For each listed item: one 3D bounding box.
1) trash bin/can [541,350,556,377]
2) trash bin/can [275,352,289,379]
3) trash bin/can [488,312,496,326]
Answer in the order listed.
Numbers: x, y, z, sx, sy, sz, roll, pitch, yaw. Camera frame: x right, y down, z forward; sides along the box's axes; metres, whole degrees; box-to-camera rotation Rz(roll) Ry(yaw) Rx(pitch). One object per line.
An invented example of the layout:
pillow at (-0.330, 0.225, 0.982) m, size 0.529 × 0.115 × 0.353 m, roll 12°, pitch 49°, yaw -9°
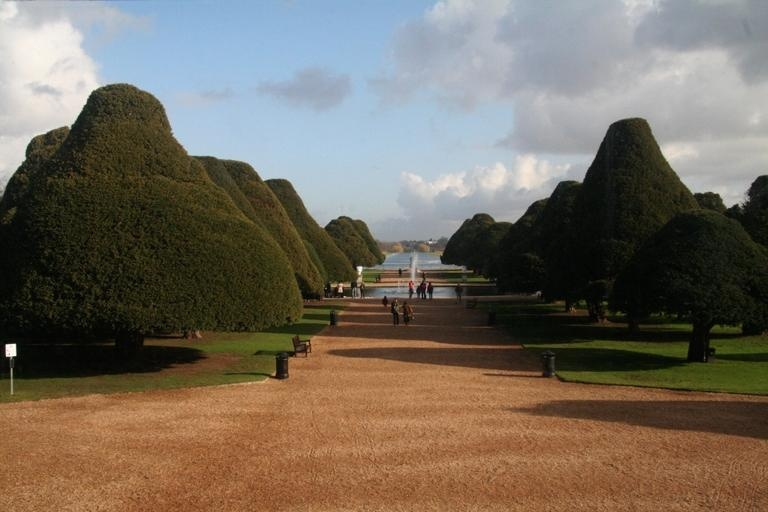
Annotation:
trash bin/can at (6.469, 4.286, 22.668) m, size 0.440 × 0.976 × 0.662 m, roll -3°, pitch -5°, yaw 15°
trash bin/can at (-3.899, 4.248, 22.125) m, size 0.484 × 1.022 × 0.391 m, roll -1°, pitch -5°, yaw -9°
trash bin/can at (6.677, 3.820, 35.546) m, size 0.795 × 0.997 × 0.752 m, roll 1°, pitch 5°, yaw 10°
